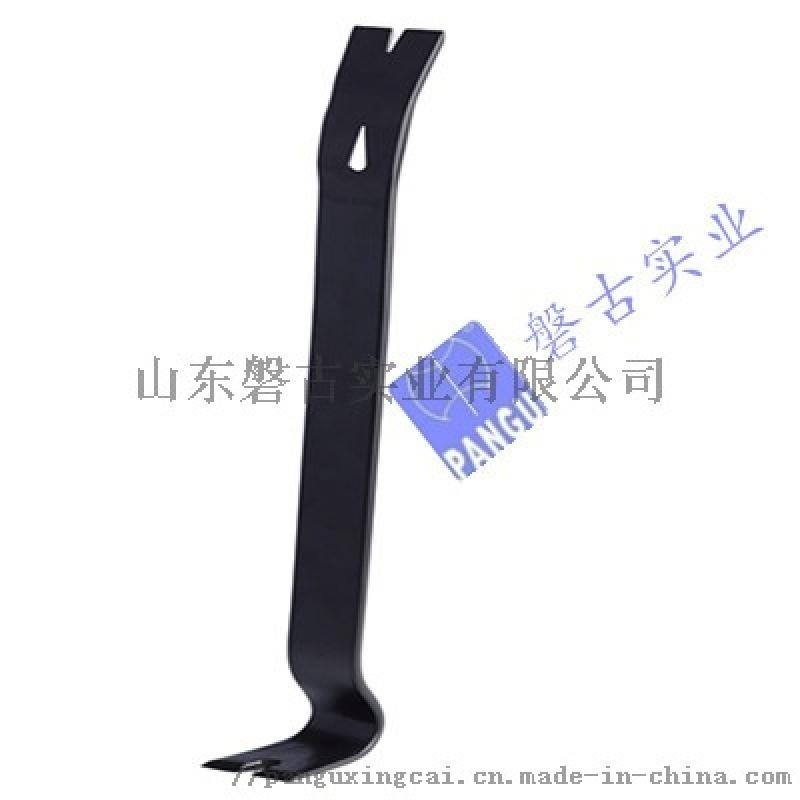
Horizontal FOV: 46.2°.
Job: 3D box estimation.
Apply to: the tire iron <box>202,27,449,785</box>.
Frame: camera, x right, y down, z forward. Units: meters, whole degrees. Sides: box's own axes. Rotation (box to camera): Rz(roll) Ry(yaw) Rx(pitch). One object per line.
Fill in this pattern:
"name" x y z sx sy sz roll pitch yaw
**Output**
"tire iron" -0.188 0.012 2.228 0.353 0.690 1.884 11 106 41
